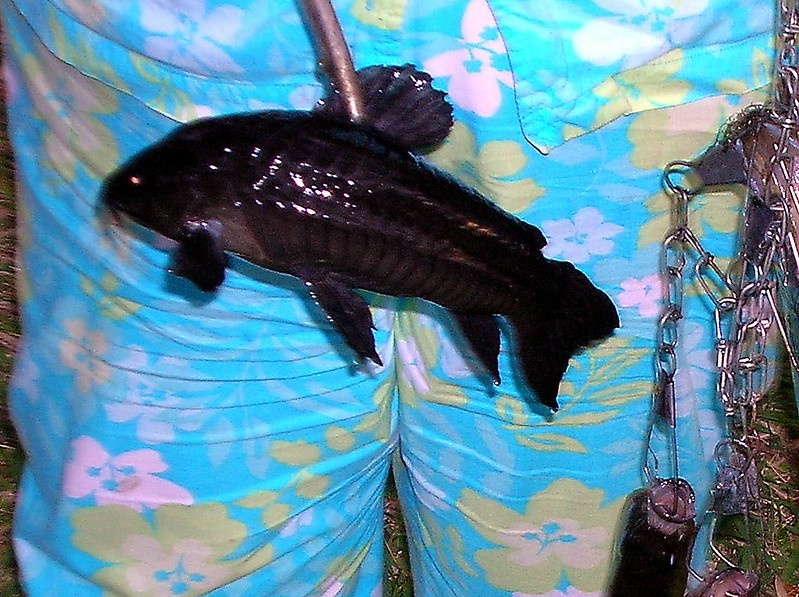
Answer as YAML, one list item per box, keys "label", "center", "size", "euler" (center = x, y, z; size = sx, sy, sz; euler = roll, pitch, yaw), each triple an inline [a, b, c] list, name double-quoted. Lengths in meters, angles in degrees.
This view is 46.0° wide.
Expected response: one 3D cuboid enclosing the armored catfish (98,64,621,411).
- label: "armored catfish"
  center: [-0.041, -0.102, 1.125]
  size: [0.677, 0.309, 0.171]
  euler: [23, 29, 24]
